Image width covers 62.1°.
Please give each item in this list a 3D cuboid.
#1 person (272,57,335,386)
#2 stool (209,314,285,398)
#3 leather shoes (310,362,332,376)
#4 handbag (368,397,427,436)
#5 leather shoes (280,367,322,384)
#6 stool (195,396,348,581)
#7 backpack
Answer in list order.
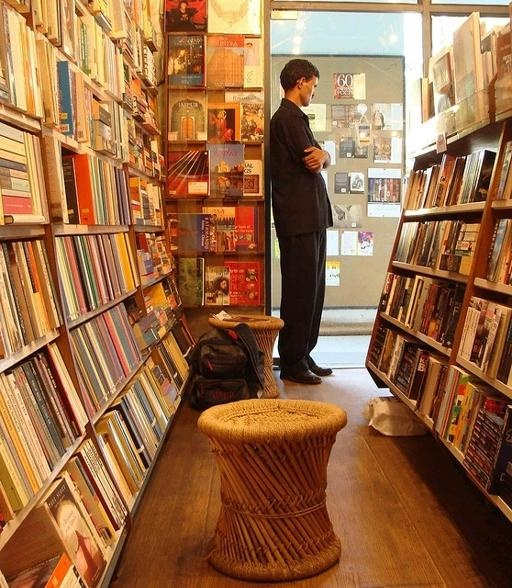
[{"bbox_3d":[0.346,-0.515,3.239,0.476,2.407,0.492,-1,1,-3],"label":"person"},{"bbox_3d":[-0.031,0.467,2.980,0.397,0.530,0.467,-4,-4,3],"label":"stool"},{"bbox_3d":[0.528,0.625,3.526,0.219,0.108,0.084,8,4,7],"label":"leather shoes"},{"bbox_3d":[0.753,0.689,2.400,0.192,0.074,0.231,0,1,-8],"label":"handbag"},{"bbox_3d":[0.346,0.639,3.268,0.300,0.149,0.122,0,1,7],"label":"leather shoes"},{"bbox_3d":[0.052,0.536,1.397,0.432,0.470,0.441,0,6,4],"label":"stool"},{"bbox_3d":[-0.202,0.374,2.753,0.522,0.589,0.404,0,0,-6],"label":"backpack"}]
